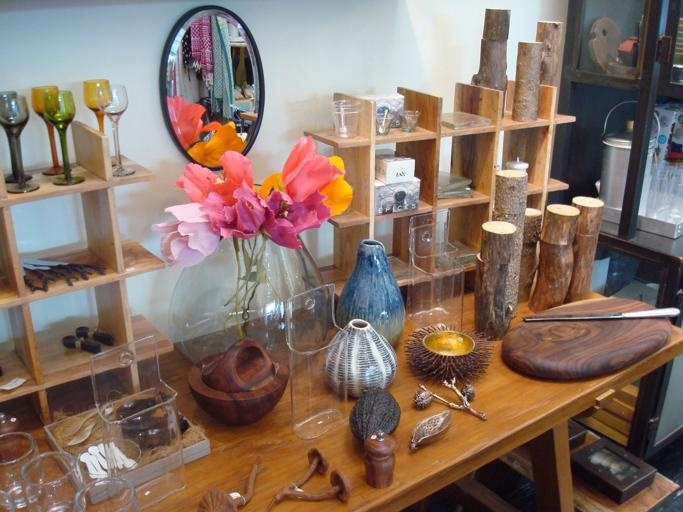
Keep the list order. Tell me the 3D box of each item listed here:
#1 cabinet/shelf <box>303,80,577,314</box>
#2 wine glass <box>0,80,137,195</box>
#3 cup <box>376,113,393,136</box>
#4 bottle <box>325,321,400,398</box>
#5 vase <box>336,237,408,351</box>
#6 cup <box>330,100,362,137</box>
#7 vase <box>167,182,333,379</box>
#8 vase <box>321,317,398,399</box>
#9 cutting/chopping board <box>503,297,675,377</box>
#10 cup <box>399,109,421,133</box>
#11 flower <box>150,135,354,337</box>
[{"bbox_3d":[0.322,-0.200,1.783,0.760,0.574,0.202,-17,29,-34],"label":"cabinet/shelf"},{"bbox_3d":[-0.731,-0.321,1.359,0.313,0.249,0.206,-11,21,-20],"label":"wine glass"},{"bbox_3d":[0.143,-0.442,1.747,0.059,0.054,0.063,-1,19,0],"label":"cup"},{"bbox_3d":[0.037,0.251,1.423,0.185,0.171,0.187,5,11,43],"label":"bottle"},{"bbox_3d":[0.127,0.098,1.657,0.257,0.412,0.268,3,9,30],"label":"vase"},{"bbox_3d":[0.008,-0.465,1.738,0.112,0.122,0.101,-23,37,-39],"label":"cup"},{"bbox_3d":[-0.243,0.073,1.317,0.340,0.333,0.347,2,2,-8],"label":"vase"},{"bbox_3d":[0.038,0.250,1.430,0.188,0.173,0.189,-7,9,-29],"label":"vase"},{"bbox_3d":[0.741,0.256,1.549,0.417,0.063,0.249,-10,24,2],"label":"cutting/chopping board"},{"bbox_3d":[0.233,-0.466,1.783,0.069,0.067,0.071,1,22,0],"label":"cup"},{"bbox_3d":[-0.274,-0.117,1.448,0.482,0.505,0.419,0,31,-20],"label":"flower"}]
